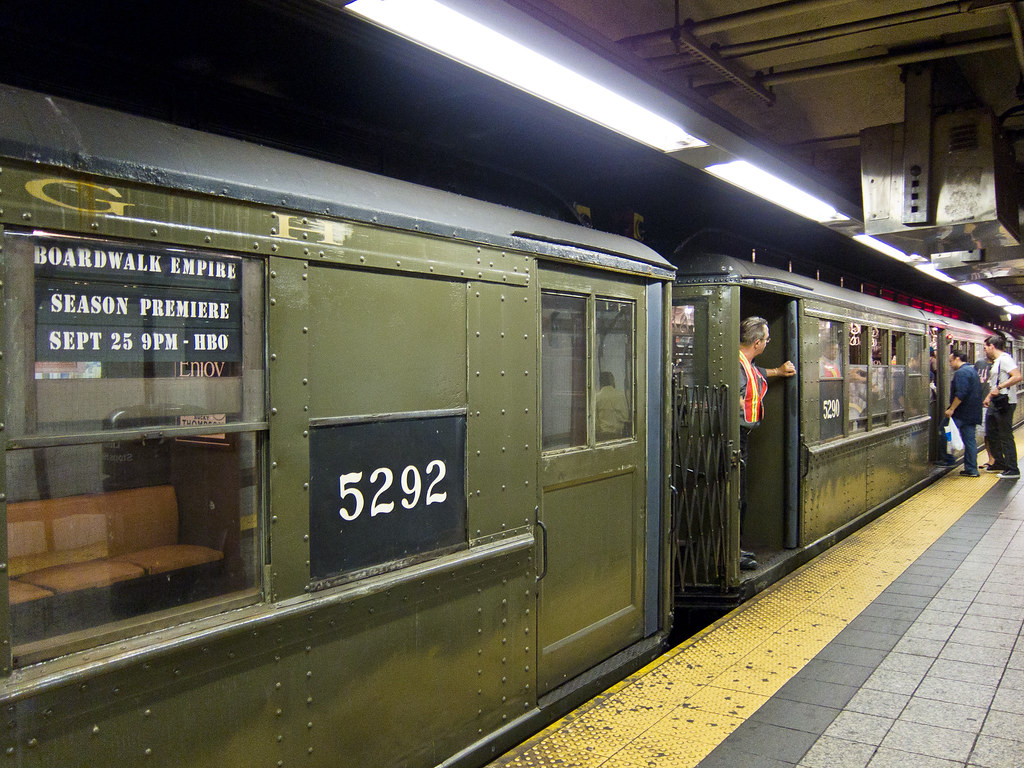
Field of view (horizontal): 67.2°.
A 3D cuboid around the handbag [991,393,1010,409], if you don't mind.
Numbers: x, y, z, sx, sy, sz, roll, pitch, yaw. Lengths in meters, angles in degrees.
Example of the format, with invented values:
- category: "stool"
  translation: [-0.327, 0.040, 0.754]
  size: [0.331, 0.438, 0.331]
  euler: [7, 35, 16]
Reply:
- category: "handbag"
  translation: [7.672, 0.248, 12.089]
  size: [0.113, 0.192, 0.191]
  euler: [12, -16, -32]

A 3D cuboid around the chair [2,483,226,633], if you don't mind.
- category: "chair"
  translation: [-1.607, 0.672, 3.042]
  size: [0.552, 0.425, 0.956]
  euler: [4, 7, 30]

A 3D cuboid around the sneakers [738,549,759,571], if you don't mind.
- category: "sneakers"
  translation: [2.180, 1.632, 7.123]
  size: [0.238, 0.104, 0.305]
  euler: [3, 7, 18]
